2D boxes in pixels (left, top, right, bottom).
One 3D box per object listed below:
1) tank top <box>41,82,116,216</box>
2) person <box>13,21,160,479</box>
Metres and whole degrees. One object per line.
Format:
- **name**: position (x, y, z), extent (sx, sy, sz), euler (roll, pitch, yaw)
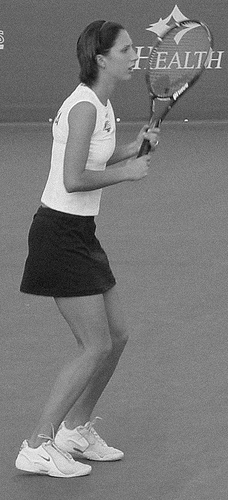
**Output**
- **tank top**: position (-0.109, -0.313, 1.412), extent (0.238, 0.408, 0.233), euler (-2, 4, -9)
- **person**: position (-0.103, 0.006, 1.552), extent (0.395, 1.512, 0.558), euler (1, 4, 27)
